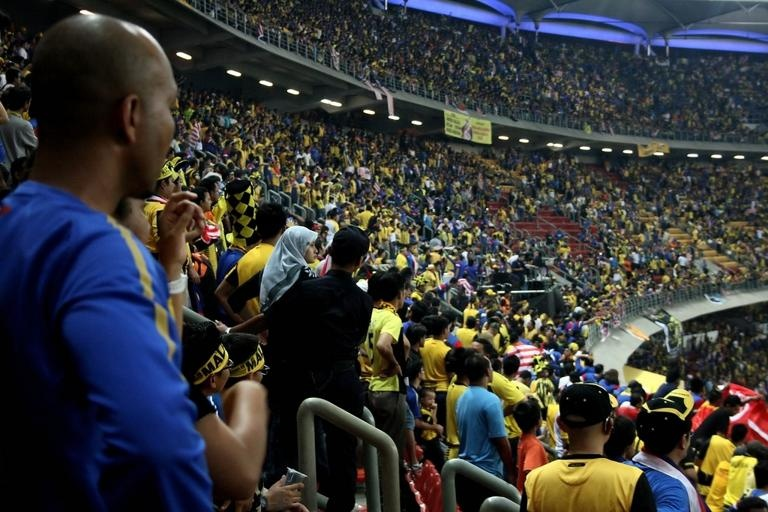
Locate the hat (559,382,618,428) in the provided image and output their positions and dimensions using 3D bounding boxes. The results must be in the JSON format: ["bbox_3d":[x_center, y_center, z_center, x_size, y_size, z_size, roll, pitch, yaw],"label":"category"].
[{"bbox_3d":[1.014,0.750,3.928,0.263,0.177,0.181,10,-2,4],"label":"hat"}]

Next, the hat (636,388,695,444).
[{"bbox_3d":[1.606,0.883,4.443,0.201,0.169,0.340,13,39,43],"label":"hat"}]

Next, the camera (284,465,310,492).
[{"bbox_3d":[-0.408,1.055,3.745,0.098,0.103,0.116,24,-15,-23],"label":"camera"}]
